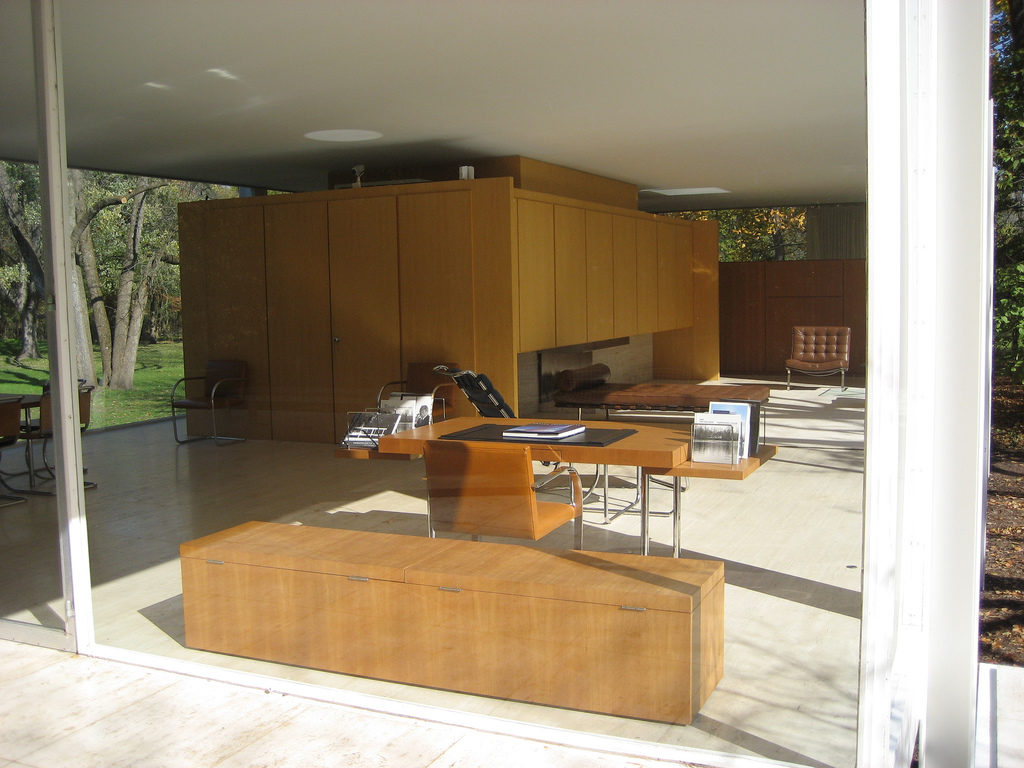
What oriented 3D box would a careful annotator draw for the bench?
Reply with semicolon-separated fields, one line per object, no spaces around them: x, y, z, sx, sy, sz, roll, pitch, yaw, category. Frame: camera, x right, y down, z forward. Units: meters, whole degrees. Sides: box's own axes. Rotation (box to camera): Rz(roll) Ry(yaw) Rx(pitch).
-0.230;0.943;2.939;2.289;0.538;0.503;1;0;19;bench

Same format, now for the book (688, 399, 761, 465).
1.071;0.233;3.699;0.319;0.278;0.277;0;7;15;book

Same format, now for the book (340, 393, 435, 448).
-0.745;0.173;4.488;0.375;0.216;0.380;1;8;29;book

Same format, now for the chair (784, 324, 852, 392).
5.179;-0.469;12.348;1.153;1.026;1.139;2;7;19;chair
